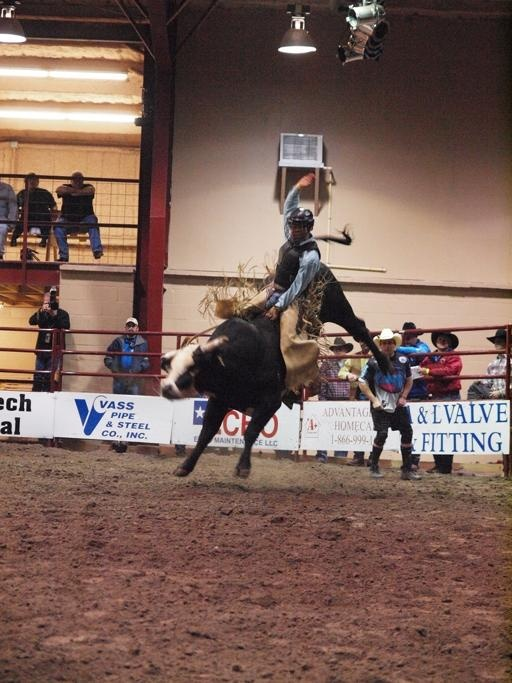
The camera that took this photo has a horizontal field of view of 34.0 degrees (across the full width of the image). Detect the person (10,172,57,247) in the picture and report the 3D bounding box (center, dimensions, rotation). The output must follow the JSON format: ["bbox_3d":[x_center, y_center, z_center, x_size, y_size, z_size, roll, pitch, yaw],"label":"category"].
[{"bbox_3d":[-3.903,-2.288,14.472,0.912,1.243,0.700,-5,-10,-8],"label":"person"}]

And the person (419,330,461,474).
[{"bbox_3d":[2.158,0.704,9.816,0.466,1.644,1.034,1,5,11],"label":"person"}]

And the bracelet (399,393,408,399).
[{"bbox_3d":[1.569,0.578,8.941,0.072,0.068,0.084,-6,-10,8],"label":"bracelet"}]

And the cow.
[{"bbox_3d":[0.084,0.254,7.750,0.797,1.484,3.227,8,20,29],"label":"cow"}]

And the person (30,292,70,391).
[{"bbox_3d":[-2.931,-0.051,11.777,0.586,1.424,1.805,-1,5,-13],"label":"person"}]

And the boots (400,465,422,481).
[{"bbox_3d":[1.671,1.430,8.968,0.122,0.190,0.310,5,-18,-21],"label":"boots"}]

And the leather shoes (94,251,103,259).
[{"bbox_3d":[-2.632,-1.455,13.907,0.116,0.108,0.138,-1,1,6],"label":"leather shoes"}]

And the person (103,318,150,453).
[{"bbox_3d":[-1.770,0.578,11.390,0.611,1.750,1.111,-1,5,-9],"label":"person"}]

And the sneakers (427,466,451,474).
[{"bbox_3d":[2.104,1.490,9.714,0.354,0.127,0.111,-6,-8,27],"label":"sneakers"}]

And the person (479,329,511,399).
[{"bbox_3d":[2.733,0.231,9.520,0.291,0.821,1.641,1,5,14],"label":"person"}]

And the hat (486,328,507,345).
[{"bbox_3d":[3.048,-0.074,10.623,0.236,0.075,0.205,17,-21,-42],"label":"hat"}]

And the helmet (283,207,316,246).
[{"bbox_3d":[0.417,-1.045,7.509,0.297,0.304,0.339,2,8,13],"label":"helmet"}]

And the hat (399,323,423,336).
[{"bbox_3d":[1.949,-0.161,10.610,0.243,0.110,0.311,1,-7,18],"label":"hat"}]

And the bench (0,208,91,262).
[{"bbox_3d":[-3.676,-1.883,14.465,1.497,0.830,0.494,2,-19,-1],"label":"bench"}]

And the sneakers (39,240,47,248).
[{"bbox_3d":[-4.019,-1.866,15.714,0.095,0.154,0.254,1,-4,-15],"label":"sneakers"}]

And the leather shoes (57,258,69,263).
[{"bbox_3d":[-3.155,-1.341,13.625,0.199,0.080,0.265,2,5,-14],"label":"leather shoes"}]

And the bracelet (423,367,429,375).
[{"bbox_3d":[1.963,0.340,9.721,0.076,0.062,0.055,-22,11,-16],"label":"bracelet"}]

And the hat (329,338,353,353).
[{"bbox_3d":[1.160,0.062,11.545,0.275,0.125,0.348,-2,-11,7],"label":"hat"}]

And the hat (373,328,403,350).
[{"bbox_3d":[1.450,-0.029,9.261,0.237,0.096,0.263,0,-21,3],"label":"hat"}]
